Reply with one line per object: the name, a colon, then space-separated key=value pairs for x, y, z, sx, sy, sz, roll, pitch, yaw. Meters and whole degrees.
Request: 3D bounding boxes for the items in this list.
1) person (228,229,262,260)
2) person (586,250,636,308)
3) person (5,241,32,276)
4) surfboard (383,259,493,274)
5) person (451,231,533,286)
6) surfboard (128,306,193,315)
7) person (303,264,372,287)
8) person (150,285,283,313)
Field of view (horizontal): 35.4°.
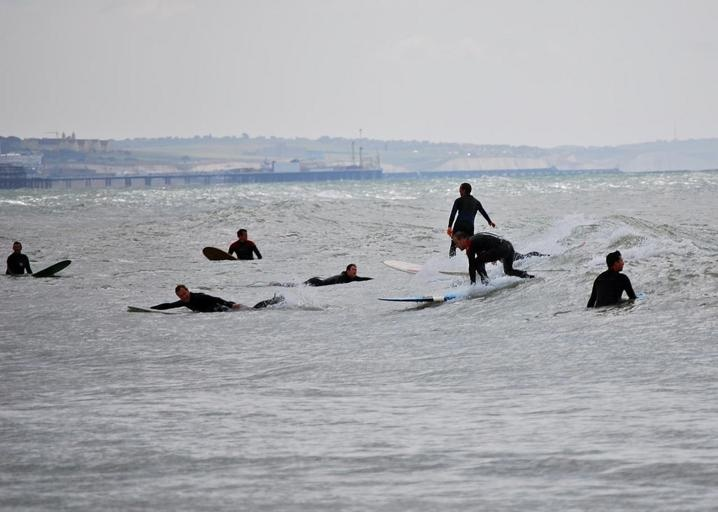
person: x=-2.755 y=-0.266 z=26.898 sx=0.752 sy=0.715 sz=0.576 roll=-2 pitch=10 yaw=-5
person: x=4.313 y=0.376 z=18.409 sx=0.747 sy=0.976 sz=0.804 roll=6 pitch=12 yaw=34
person: x=-7.597 y=0.059 z=24.578 sx=0.573 sy=0.780 sz=1.122 roll=-4 pitch=10 yaw=-16
surfboard: x=1.542 y=0.242 z=23.721 sx=2.099 sy=0.229 sz=0.513 roll=8 pitch=15 yaw=44
person: x=2.458 y=0.014 z=20.198 sx=0.725 sy=1.051 sz=1.752 roll=7 pitch=12 yaw=39
surfboard: x=-3.556 y=0.958 z=19.761 sx=1.122 sy=0.094 sz=0.624 roll=-2 pitch=8 yaw=-11
person: x=-0.404 y=0.445 z=22.968 sx=1.052 sy=0.315 sz=0.585 roll=-3 pitch=3 yaw=-16
person: x=-2.570 y=0.798 z=19.992 sx=2.113 sy=0.441 sz=0.782 roll=-9 pitch=7 yaw=-10
